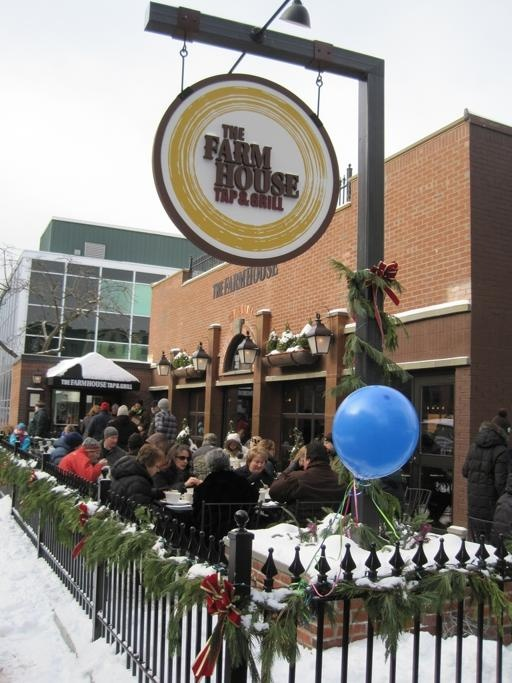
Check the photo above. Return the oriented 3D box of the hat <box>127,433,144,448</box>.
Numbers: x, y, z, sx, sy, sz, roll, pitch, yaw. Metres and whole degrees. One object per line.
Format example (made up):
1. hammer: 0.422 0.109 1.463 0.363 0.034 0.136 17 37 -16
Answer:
1. hat: -1.497 1.258 7.724 0.178 0.200 0.230 2 4 -7

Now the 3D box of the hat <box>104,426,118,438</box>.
1. hat: -1.992 1.238 8.444 0.199 0.160 0.158 9 3 37

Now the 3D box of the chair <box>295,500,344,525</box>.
1. chair: 0.519 1.569 5.616 0.389 0.212 0.369 -1 -5 35

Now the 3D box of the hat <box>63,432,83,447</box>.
1. hat: -2.690 1.442 9.123 0.210 0.244 0.280 14 8 40

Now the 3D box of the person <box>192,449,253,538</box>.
1. person: -0.324 1.354 5.452 0.446 0.736 0.463 1 2 14

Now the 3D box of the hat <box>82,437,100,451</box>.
1. hat: -1.974 1.234 7.373 0.167 0.103 0.165 2 -4 -26

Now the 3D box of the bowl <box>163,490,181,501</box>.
1. bowl: -0.855 1.596 6.332 0.136 0.081 0.112 -3 -3 -8
